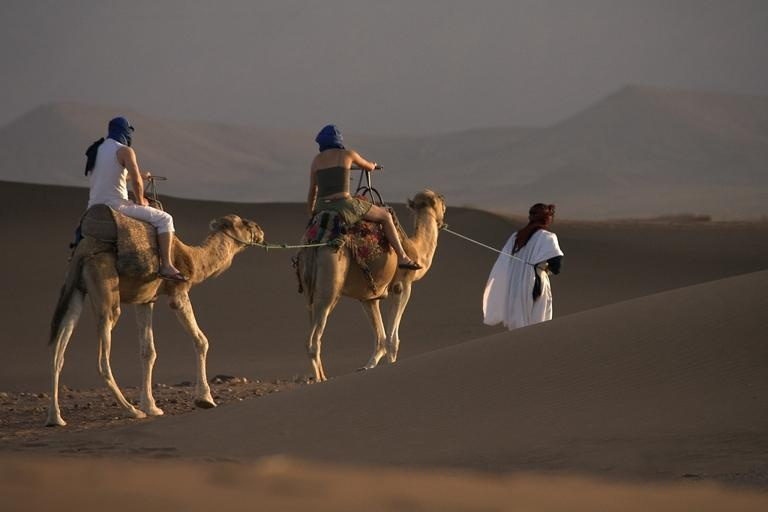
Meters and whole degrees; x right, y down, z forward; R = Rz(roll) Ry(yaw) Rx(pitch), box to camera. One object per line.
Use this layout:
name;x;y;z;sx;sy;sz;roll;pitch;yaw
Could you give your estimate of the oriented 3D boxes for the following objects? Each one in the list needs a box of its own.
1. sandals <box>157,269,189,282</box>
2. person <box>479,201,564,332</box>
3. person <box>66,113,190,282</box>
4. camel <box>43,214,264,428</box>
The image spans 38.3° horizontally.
sandals;-2.625;0.241;13.890;0.382;0.149;0.116;-3;9;-2
person;1.828;0.241;14.471;1.024;1.693;0.645;0;-5;29
person;-3.237;-0.763;14.187;0.911;1.965;1.327;4;2;42
camel;-2.997;0.721;13.976;1.559;2.623;2.060;-2;-4;18
